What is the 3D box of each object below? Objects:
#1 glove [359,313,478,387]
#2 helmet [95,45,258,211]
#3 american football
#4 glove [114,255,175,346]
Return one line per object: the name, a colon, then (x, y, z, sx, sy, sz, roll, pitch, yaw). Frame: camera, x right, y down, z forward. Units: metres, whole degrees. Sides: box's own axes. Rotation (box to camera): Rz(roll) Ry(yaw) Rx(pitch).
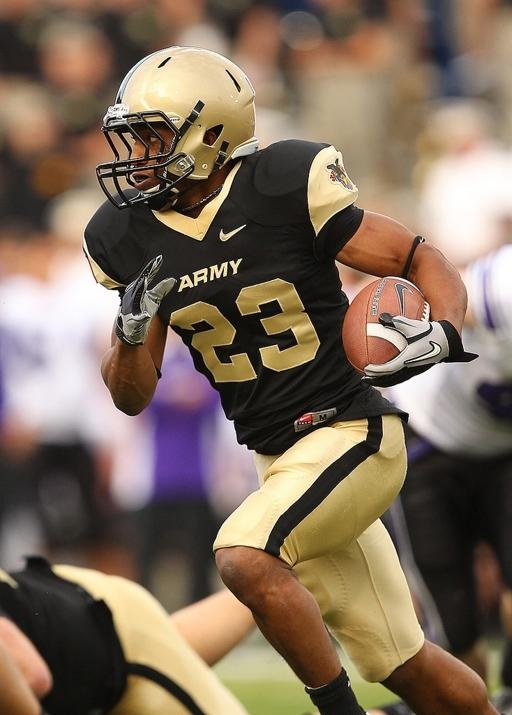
glove: (0.255, -0.021, 1.305, 0.168, 0.102, 0.070, -10, 65, -17)
helmet: (-0.142, -0.431, 1.631, 0.395, 0.278, 0.306, -7, 86, -25)
american football: (0.224, -0.073, 1.346, 0.139, 0.111, 0.171, 5, 60, 29)
glove: (-0.193, -0.089, 1.380, 0.102, 0.079, 0.148, 12, 76, -5)
